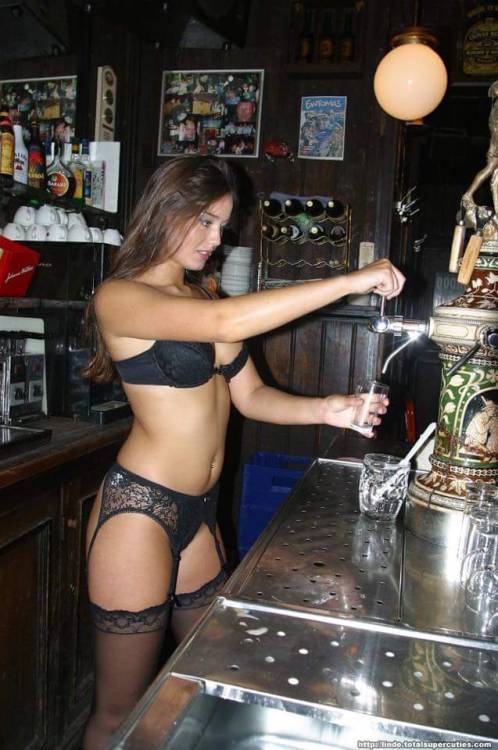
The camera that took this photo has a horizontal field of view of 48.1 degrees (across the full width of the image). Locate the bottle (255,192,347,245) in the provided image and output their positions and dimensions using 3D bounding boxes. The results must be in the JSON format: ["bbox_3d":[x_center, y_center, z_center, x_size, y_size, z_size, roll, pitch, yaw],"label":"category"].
[{"bbox_3d":[0.304,-0.846,3.134,0.504,0.270,0.359,1,0,8],"label":"bottle"}]

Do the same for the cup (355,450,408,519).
[{"bbox_3d":[0.269,0.239,1.238,0.117,0.138,0.122,5,-2,0],"label":"cup"}]

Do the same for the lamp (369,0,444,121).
[{"bbox_3d":[0.651,-1.252,2.295,0.261,0.441,0.534,3,3,15],"label":"lamp"}]

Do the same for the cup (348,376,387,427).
[{"bbox_3d":[0.266,0.062,1.251,0.068,0.115,0.152,3,3,13],"label":"cup"}]

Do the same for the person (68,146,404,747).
[{"bbox_3d":[-0.108,0.152,1.397,0.561,1.438,0.842,1,3,-37],"label":"person"}]
